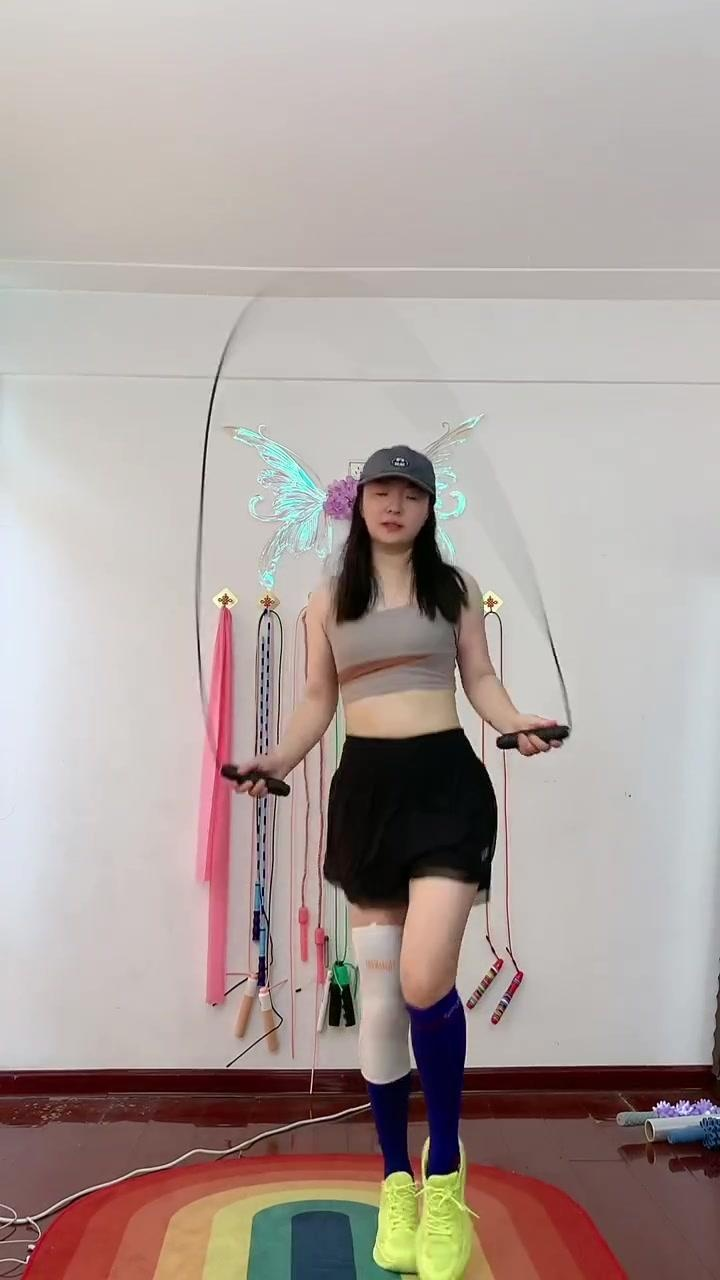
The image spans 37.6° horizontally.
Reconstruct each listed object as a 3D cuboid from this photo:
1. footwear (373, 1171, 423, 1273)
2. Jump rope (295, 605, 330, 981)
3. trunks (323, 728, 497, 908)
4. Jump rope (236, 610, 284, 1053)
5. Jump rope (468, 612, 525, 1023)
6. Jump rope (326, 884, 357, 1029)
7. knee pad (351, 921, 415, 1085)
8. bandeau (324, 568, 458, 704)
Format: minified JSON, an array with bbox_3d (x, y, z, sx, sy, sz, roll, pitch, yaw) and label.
[{"bbox_3d":[0.062,1.017,1.835,0.066,0.079,0.171,1,-6,2],"label":"footwear"},{"bbox_3d":[-0.115,0.439,2.941,0.094,0.957,0.099,2,0,0],"label":"Jump rope"},{"bbox_3d":[0.091,0.334,1.976,0.320,0.307,0.191,-5,-14,11],"label":"trunks"},{"bbox_3d":[-0.260,0.514,2.944,0.123,1.104,0.092,3,-4,2],"label":"Jump rope"},{"bbox_3d":[0.398,0.565,2.918,0.129,1.010,0.100,5,12,17],"label":"Jump rope"},{"bbox_3d":[-0.057,0.858,2.886,0.086,0.374,0.063,-5,-12,11],"label":"Jump rope"},{"bbox_3d":[0.034,0.653,1.926,0.131,0.282,0.100,-2,-6,31],"label":"knee pad"},{"bbox_3d":[0.058,0.013,2.047,0.232,0.220,0.131,-9,-19,3],"label":"bandeau"}]
